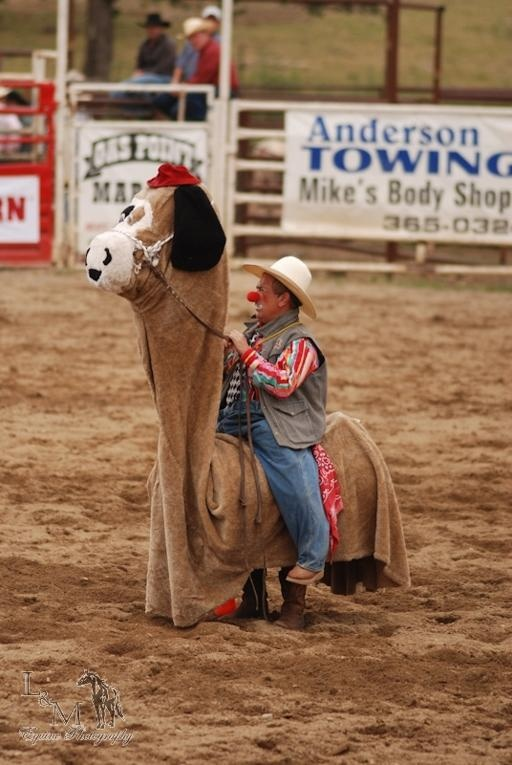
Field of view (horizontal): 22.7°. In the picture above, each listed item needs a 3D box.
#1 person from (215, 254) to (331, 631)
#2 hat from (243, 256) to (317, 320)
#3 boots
[{"bbox_3d":[0.077,0.131,5.083,0.457,1.244,0.515,1,10,-2],"label":"person"},{"bbox_3d":[0.153,-0.404,5.102,0.295,0.110,0.245,33,-3,-35],"label":"hat"},{"bbox_3d":[0.087,0.907,5.267,0.295,0.251,0.240,-6,-23,27],"label":"boots"}]
